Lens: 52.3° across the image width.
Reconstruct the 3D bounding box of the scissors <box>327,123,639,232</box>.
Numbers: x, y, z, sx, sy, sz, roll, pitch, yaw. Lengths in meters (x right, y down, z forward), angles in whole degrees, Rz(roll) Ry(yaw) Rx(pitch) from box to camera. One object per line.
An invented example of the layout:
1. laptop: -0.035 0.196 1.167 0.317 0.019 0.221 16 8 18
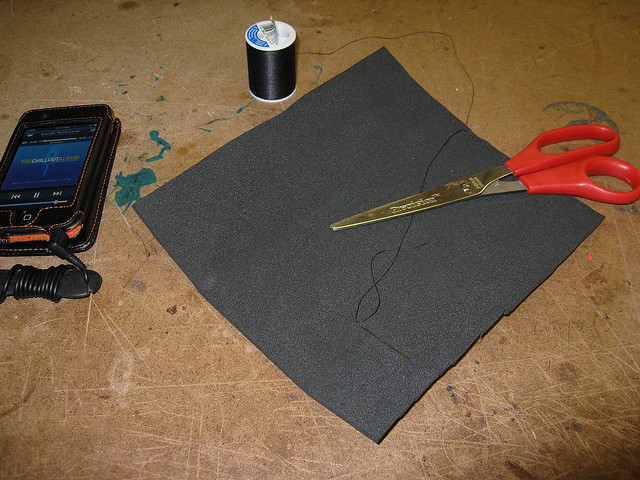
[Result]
1. scissors: 0.291 -0.056 1.214 0.559 0.044 0.244 -11 50 -8
